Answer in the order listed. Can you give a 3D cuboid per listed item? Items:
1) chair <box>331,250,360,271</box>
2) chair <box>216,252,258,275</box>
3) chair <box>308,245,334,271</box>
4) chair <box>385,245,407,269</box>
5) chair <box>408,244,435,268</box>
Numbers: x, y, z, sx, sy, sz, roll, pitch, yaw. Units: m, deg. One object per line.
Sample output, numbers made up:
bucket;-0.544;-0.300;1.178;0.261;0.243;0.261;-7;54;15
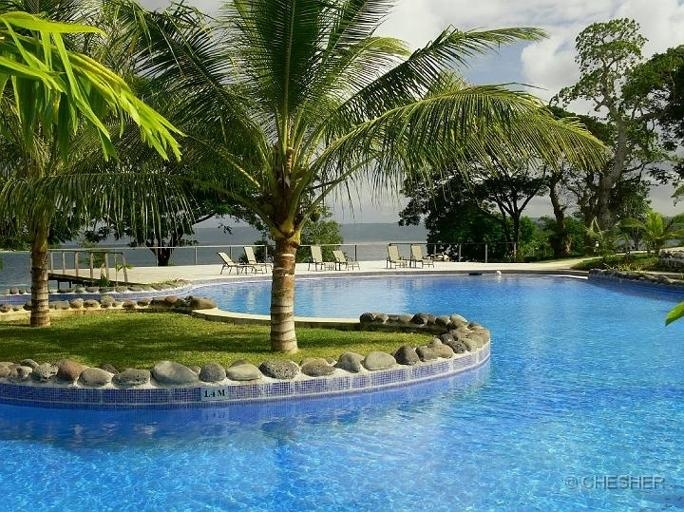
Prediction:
chair;0.064;0.188;23.117;0.674;0.801;1.185;-4;5;-42
chair;-4.303;0.281;21.172;1.725;0.839;0.845;1;3;16
chair;-0.923;0.073;23.096;0.997;1.055;2.630;1;-1;-3
chair;2.215;0.052;23.482;0.836;1.280;0.941;-2;3;-31
chair;3.377;0.032;24.089;0.783;0.953;1.337;-1;1;-26
